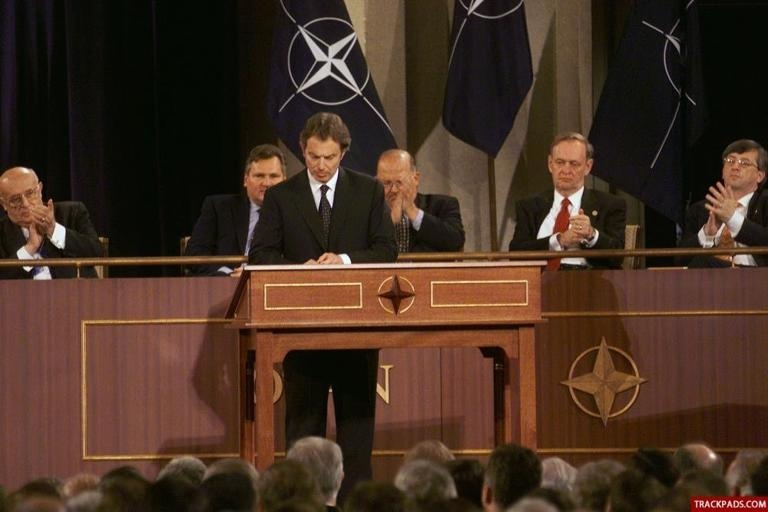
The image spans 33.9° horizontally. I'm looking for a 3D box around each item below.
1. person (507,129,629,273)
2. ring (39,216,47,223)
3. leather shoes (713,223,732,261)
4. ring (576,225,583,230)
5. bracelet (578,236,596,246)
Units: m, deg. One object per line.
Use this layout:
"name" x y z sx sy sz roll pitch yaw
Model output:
"person" 1.516 -0.519 10.387 0.956 1.016 0.653 -2 -8 10
"ring" -2.777 -0.286 10.213 0.048 0.046 0.013 -4 18 -8
"leather shoes" 2.764 -0.107 10.126 0.137 0.300 0.522 -2 -7 15
"ring" 1.574 -0.219 10.022 0.052 0.033 0.018 -1 -3 15
"bracelet" 1.656 -0.107 10.110 0.097 0.078 0.076 3 -2 10
